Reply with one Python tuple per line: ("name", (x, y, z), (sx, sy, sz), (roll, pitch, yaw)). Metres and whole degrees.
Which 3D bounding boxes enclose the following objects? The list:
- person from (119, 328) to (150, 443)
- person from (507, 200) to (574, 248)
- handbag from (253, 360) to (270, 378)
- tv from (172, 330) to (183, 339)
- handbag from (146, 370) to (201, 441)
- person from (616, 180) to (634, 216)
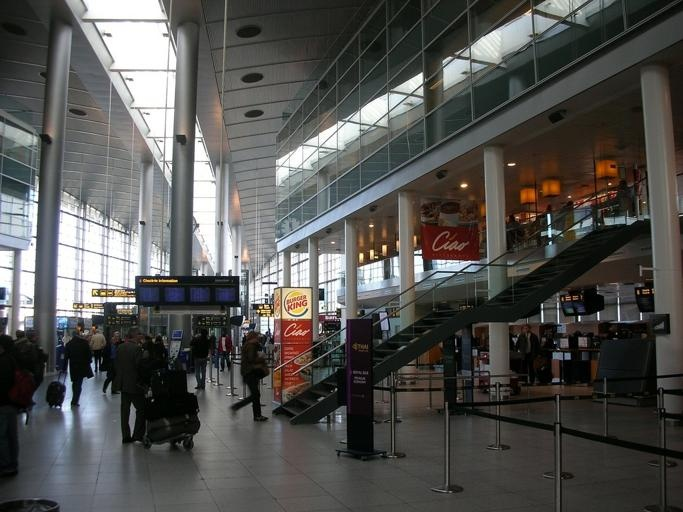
("person", (-4.136, 2.697, 12.445), (0.680, 2.013, 0.552), (-1, -10, -4))
("person", (6.254, -0.837, 19.704), (2.205, 1.074, 0.603), (-8, -12, 35))
("handbag", (-1.914, 2.770, 15.323), (0.375, 0.367, 0.390), (-10, -10, 0))
("tv", (-6.182, 2.982, 23.829), (0.350, 0.474, 0.049), (4, -3, 9))
("handbag", (-3.250, 2.976, 12.187), (0.971, 1.456, 0.541), (1, -10, -14))
("person", (8.117, -1.579, 17.972), (0.440, 0.969, 0.512), (-8, -12, 34))
